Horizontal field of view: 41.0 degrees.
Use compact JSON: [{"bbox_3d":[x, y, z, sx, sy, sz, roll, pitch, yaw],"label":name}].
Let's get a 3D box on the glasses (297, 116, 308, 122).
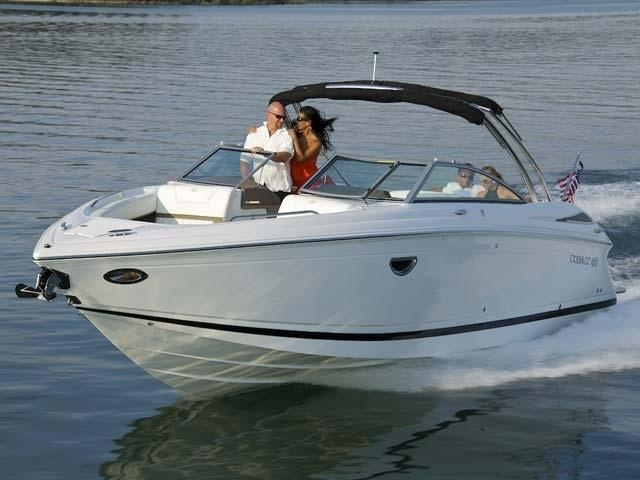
[{"bbox_3d":[-0.227,-1.443,10.122,0.131,0.020,0.091,6,3,-14],"label":"glasses"}]
